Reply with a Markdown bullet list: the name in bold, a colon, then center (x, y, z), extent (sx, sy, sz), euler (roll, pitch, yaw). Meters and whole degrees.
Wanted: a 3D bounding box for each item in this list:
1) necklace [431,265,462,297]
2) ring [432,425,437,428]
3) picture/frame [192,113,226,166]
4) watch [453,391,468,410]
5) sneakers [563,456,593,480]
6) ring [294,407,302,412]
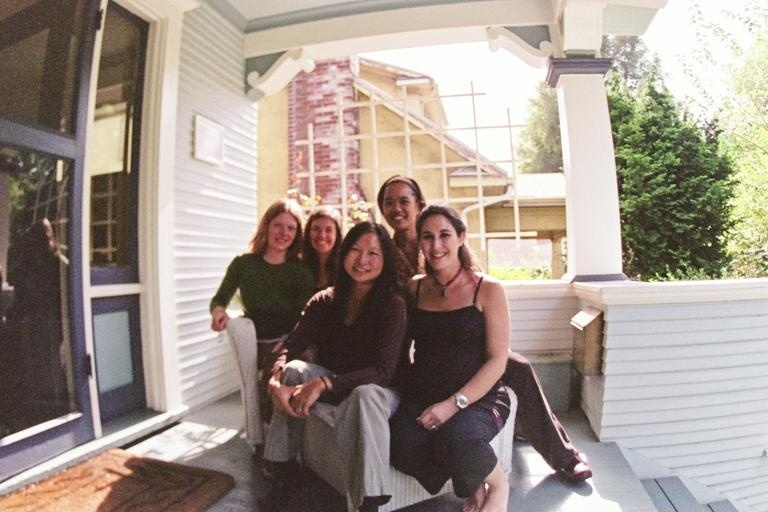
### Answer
- **necklace**: center (0.445, 0.182, 3.729), extent (0.135, 0.222, 0.035), euler (3, -16, 6)
- **ring**: center (0.335, 1.111, 3.452), extent (0.019, 0.027, 0.006), euler (27, 2, 2)
- **picture/frame**: center (-1.718, -1.126, 5.091), extent (0.054, 0.498, 0.522), euler (-4, -9, 25)
- **watch**: center (0.508, 0.958, 3.499), extent (0.025, 0.096, 0.101), euler (-22, -25, -46)
- **sneakers**: center (1.431, 1.566, 3.875), extent (0.133, 0.108, 0.240), euler (-2, -20, -4)
- **ring**: center (-0.577, 1.022, 3.505), extent (0.037, 0.035, 0.009), euler (14, 11, 22)
